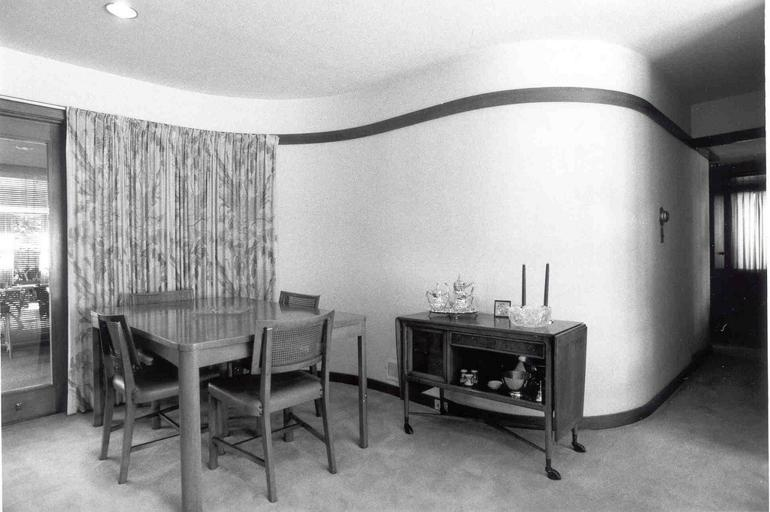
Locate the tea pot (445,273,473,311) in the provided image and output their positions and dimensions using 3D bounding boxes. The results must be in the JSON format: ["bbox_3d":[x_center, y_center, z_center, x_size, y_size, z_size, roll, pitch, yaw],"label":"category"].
[{"bbox_3d":[0.705,0.359,4.922,0.282,0.333,0.440,1,2,15],"label":"tea pot"}]

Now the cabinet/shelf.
[{"bbox_3d":[0.970,1.205,4.450,1.266,0.891,0.499,0,-1,35],"label":"cabinet/shelf"}]

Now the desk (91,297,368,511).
[{"bbox_3d":[-1.481,1.513,4.510,1.573,1.320,2.148,1,-2,-43],"label":"desk"}]

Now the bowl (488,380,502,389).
[{"bbox_3d":[0.963,1.122,4.440,0.075,0.035,0.076,-1,-5,0],"label":"bowl"}]

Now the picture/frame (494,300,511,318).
[{"bbox_3d":[1.078,0.485,4.660,0.130,0.143,0.010,5,-6,20],"label":"picture/frame"}]

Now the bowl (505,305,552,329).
[{"bbox_3d":[1.249,0.522,4.385,0.238,0.120,0.224,-2,-4,0],"label":"bowl"}]

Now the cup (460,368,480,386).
[{"bbox_3d":[0.754,1.092,4.547,0.162,0.120,0.105,-2,-5,31],"label":"cup"}]
